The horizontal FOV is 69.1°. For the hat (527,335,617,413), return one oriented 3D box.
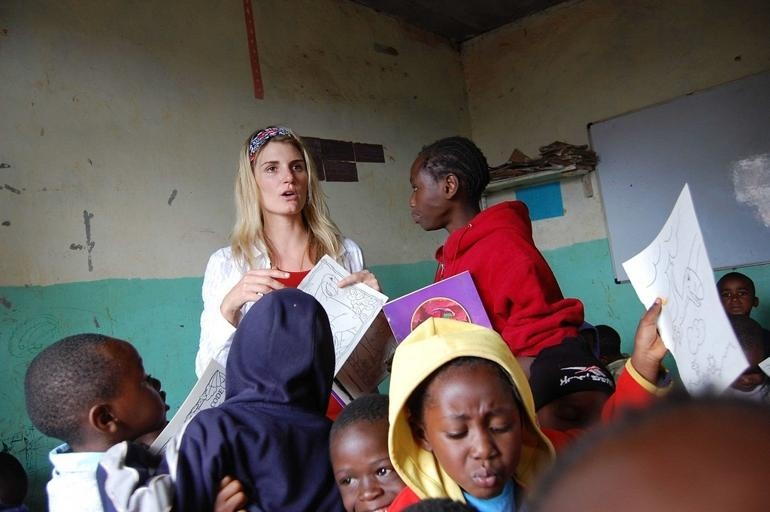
[{"bbox_3d":[0.613,0.448,1.952,0.197,0.205,0.264,19,-53,-42],"label":"hat"}]

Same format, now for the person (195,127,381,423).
[{"bbox_3d":[-0.461,0.025,2.633,0.824,1.412,0.606,-2,-8,-14],"label":"person"}]

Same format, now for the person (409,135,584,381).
[{"bbox_3d":[0.426,-0.068,2.345,0.383,1.064,0.752,-1,-8,-19],"label":"person"}]
